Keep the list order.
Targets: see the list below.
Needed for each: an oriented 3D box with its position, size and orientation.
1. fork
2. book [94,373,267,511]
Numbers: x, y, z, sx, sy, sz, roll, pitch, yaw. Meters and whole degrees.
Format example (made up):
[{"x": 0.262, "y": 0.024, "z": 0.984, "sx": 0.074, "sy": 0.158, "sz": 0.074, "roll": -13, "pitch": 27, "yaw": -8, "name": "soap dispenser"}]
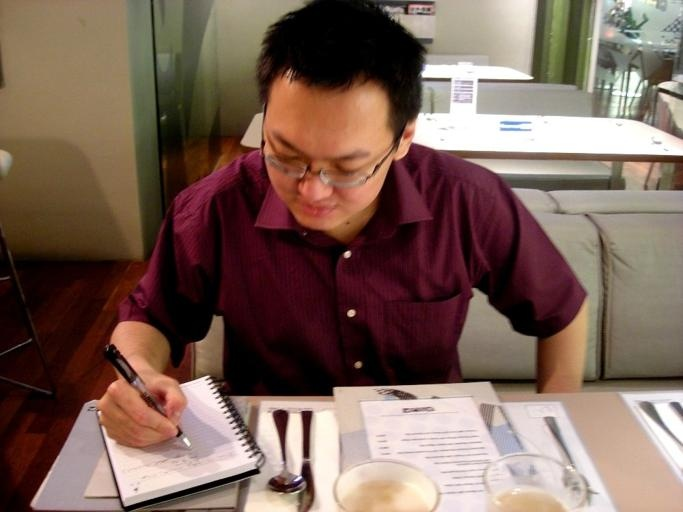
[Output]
[{"x": 0.402, "y": 0.345, "z": 0.979, "sx": 0.021, "sy": 0.020, "sz": 0.131, "roll": -21, "pitch": 39, "yaw": 11, "name": "fork"}, {"x": -0.288, "y": 0.330, "z": 0.984, "sx": 0.226, "sy": 0.037, "sz": 0.266, "roll": -16, "pitch": 32, "yaw": -29, "name": "book"}]
